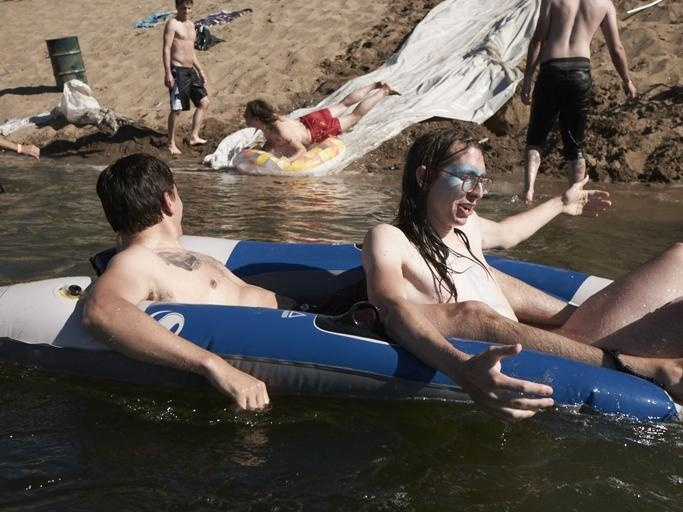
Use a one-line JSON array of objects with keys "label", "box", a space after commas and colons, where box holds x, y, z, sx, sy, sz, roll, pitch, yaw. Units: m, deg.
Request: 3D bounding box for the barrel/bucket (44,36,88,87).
[{"label": "barrel/bucket", "box": [-4.420, -3.118, 12.181, 0.496, 0.861, 0.447, -7, 27, -17]}]

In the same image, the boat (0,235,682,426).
[{"label": "boat", "box": [-0.111, 0.434, 3.871, 3.081, 0.344, 1.327, 1, 7, 10]}]

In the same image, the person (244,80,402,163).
[{"label": "person", "box": [-0.223, -1.646, 8.825, 1.723, 0.548, 0.719, -14, 29, 9]}]
